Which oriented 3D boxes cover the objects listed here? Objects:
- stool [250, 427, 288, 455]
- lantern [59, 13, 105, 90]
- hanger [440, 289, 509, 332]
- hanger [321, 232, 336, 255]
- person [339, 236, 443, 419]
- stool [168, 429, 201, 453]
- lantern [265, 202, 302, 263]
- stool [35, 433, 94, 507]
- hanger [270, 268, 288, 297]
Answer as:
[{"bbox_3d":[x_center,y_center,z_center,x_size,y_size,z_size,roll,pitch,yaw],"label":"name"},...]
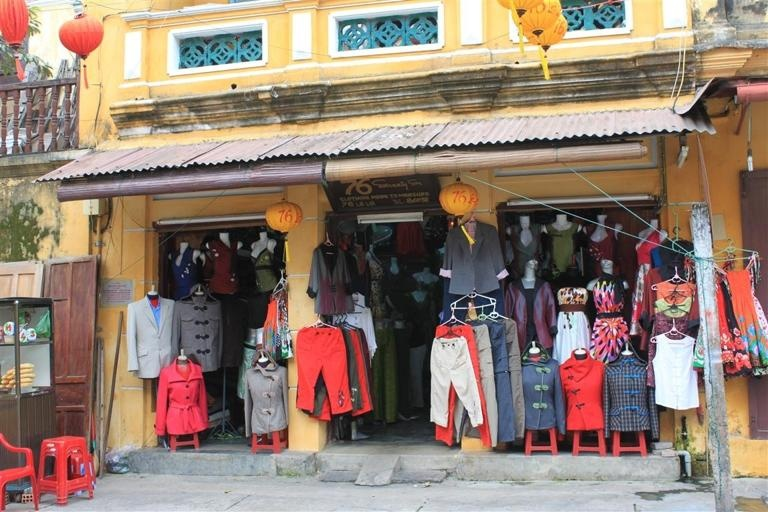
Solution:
[{"bbox_3d":[-1.671,2.670,15.185,0.509,0.354,0.655,-1,15,7],"label":"stool"},{"bbox_3d":[-4.238,-3.082,14.426,0.591,0.631,0.223,-5,14,-8],"label":"lantern"},{"bbox_3d":[1.276,0.735,14.802,0.890,0.458,0.233,-2,14,5],"label":"hanger"},{"bbox_3d":[-0.812,-0.161,15.327,0.234,0.260,0.361,-3,15,2],"label":"hanger"},{"bbox_3d":[0.303,1.217,16.699,0.895,2.924,1.497,4,16,24],"label":"person"},{"bbox_3d":[-2.997,2.795,15.410,0.313,0.268,0.310,1,-9,-17],"label":"stool"},{"bbox_3d":[-1.434,-0.336,15.112,0.524,0.962,0.510,-4,14,-5],"label":"lantern"},{"bbox_3d":[-4.297,2.948,14.181,0.657,0.895,0.710,-2,-4,22],"label":"stool"},{"bbox_3d":[-1.550,0.398,15.504,0.164,0.424,0.256,4,14,17],"label":"hanger"}]
